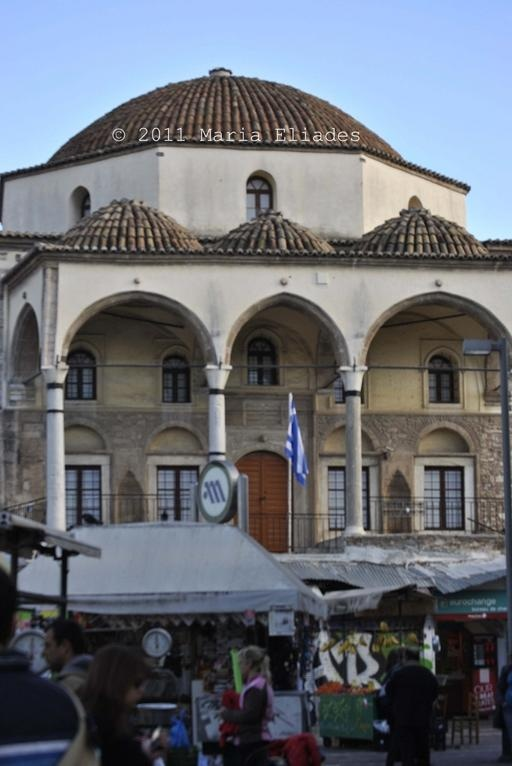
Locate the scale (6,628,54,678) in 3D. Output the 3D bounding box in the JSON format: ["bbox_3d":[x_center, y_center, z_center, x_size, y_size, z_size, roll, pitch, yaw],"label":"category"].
[{"bbox_3d":[-1.872,2.262,13.359,0.388,0.470,0.164,-1,9,-2],"label":"scale"}]

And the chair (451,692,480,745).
[{"bbox_3d":[2.372,3.749,17.854,0.268,0.579,0.300,3,-9,-22],"label":"chair"}]
